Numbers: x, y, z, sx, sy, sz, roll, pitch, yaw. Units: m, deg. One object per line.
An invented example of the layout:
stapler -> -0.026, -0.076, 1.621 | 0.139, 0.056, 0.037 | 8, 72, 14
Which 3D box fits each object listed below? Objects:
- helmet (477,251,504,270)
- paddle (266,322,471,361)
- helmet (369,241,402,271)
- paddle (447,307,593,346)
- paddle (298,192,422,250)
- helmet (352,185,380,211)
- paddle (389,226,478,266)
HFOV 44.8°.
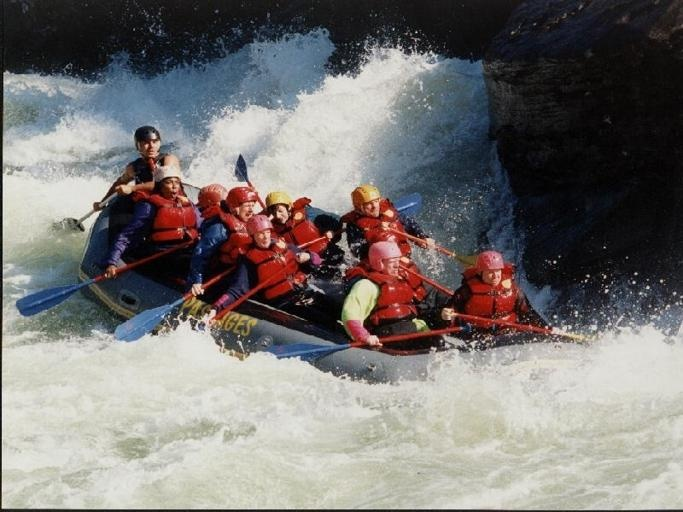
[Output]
helmet -> 1.532, 0.056, 8.619 | 0.181, 0.244, 0.190 | -6, 78, -38
paddle -> 0.246, 0.883, 8.454 | 1.542, 0.068, 0.173 | -10, 59, 2
helmet -> 0.442, -0.021, 8.595 | 0.310, 0.258, 0.297 | 9, 12, 21
paddle -> 1.884, 0.752, 8.821 | 1.140, 0.098, 0.132 | 13, 51, 10
paddle -> 0.216, -0.496, 10.637 | 1.821, 0.424, 0.525 | -14, 15, -7
helmet -> 0.281, -0.699, 9.874 | 0.315, 0.262, 0.258 | -11, 17, 40
paddle -> 1.178, -0.103, 10.475 | 0.771, 0.183, 0.191 | 25, 59, 23
